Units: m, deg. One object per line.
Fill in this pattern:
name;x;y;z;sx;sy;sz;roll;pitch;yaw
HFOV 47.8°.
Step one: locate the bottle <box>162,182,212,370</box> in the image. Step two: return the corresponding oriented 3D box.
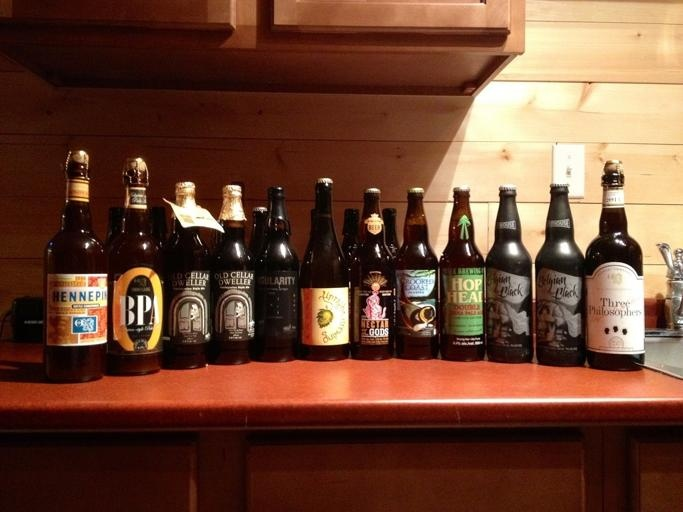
bottle;-0.349;0.034;1.743;0.131;0.402;0.127;0;3;0
